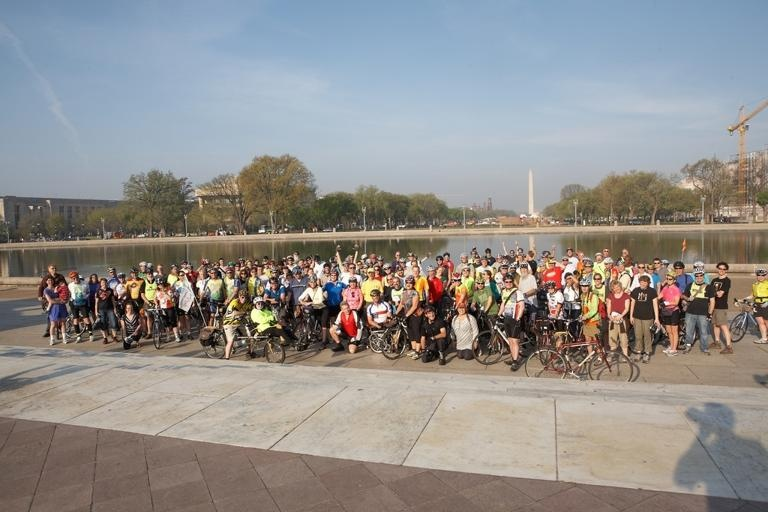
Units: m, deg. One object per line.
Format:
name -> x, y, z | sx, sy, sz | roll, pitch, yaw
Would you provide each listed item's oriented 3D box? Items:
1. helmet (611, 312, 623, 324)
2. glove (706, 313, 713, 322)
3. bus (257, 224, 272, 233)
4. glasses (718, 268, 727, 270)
helmet -> 5.720, 1.530, 14.503 | 0.240, 0.278, 0.397 | 2, 6, 34
glove -> 8.507, 1.621, 15.412 | 0.188, 0.259, 0.068 | 4, -21, 10
bus -> -24.748, -5.669, 123.124 | 2.750, 1.859, 2.959 | 0, 2, 3
glasses -> 8.946, 0.351, 15.614 | 0.168, 0.074, 0.186 | 1, 5, 22
